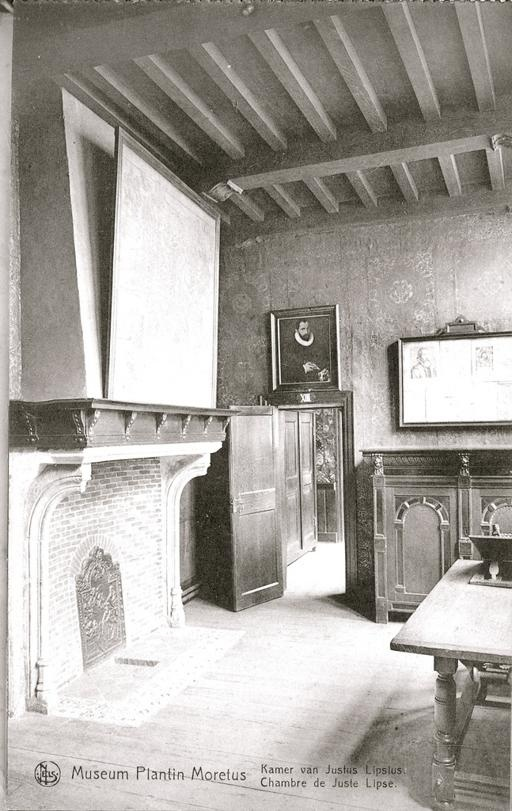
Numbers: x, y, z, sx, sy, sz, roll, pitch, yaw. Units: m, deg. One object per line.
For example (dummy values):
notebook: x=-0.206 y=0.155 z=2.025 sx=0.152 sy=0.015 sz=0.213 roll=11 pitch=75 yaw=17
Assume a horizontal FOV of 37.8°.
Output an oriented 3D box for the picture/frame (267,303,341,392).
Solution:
picture/frame: x=0.415 y=-0.469 z=6.490 sx=0.593 sy=0.899 sz=0.066 roll=-3 pitch=-32 yaw=5
